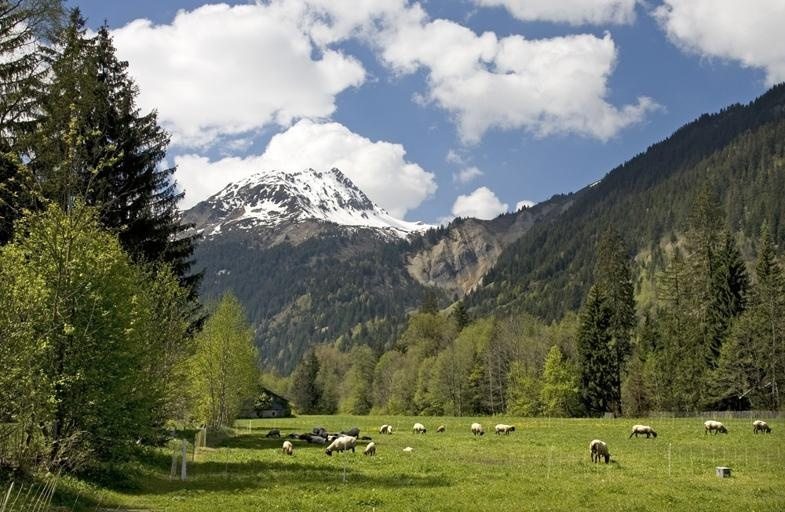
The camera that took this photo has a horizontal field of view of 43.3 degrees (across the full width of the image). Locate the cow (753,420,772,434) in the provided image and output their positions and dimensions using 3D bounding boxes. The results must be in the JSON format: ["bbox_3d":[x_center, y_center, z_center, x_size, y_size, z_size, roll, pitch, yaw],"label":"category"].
[{"bbox_3d":[52.229,23.937,139.962,2.552,1.516,3.782,0,1,21],"label":"cow"}]
